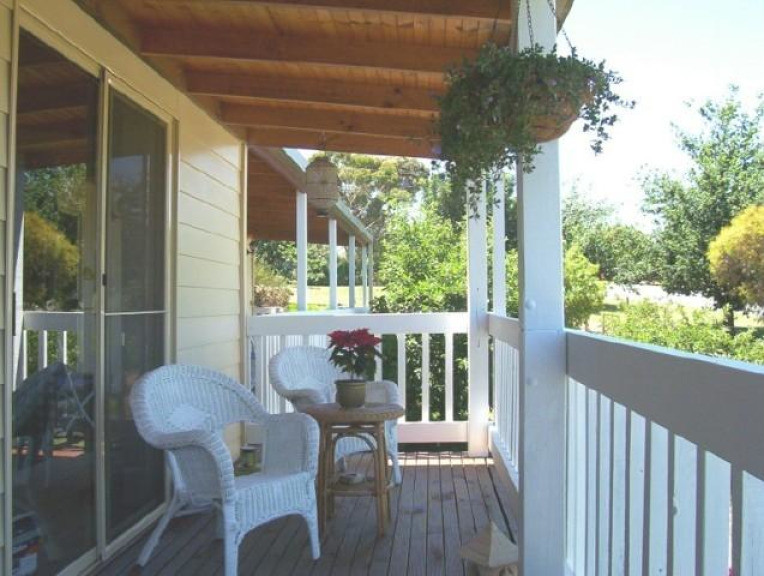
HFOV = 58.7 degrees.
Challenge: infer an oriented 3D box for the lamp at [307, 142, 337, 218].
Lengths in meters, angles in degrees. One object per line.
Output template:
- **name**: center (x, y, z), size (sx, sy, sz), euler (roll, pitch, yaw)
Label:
- **lamp**: center (-0.510, -0.880, 5.789), size (0.249, 0.541, 0.266), euler (4, -12, -30)

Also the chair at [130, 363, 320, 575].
- **chair**: center (-0.829, 0.865, 3.777), size (0.945, 1.275, 0.930), euler (-8, -10, 40)

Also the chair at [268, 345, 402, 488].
- **chair**: center (-0.346, 0.891, 4.691), size (0.812, 1.023, 0.894), euler (-1, -2, 23)

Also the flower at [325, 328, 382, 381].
- **flower**: center (-0.164, 0.373, 4.099), size (0.300, 0.350, 0.333), euler (2, 6, -12)

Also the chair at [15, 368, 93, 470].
- **chair**: center (-1.571, 0.540, 3.199), size (0.208, 0.291, 0.720), euler (11, 0, -8)

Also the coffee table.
- **coffee table**: center (-0.178, 1.074, 4.050), size (0.498, 0.719, 0.560), euler (0, -2, -20)

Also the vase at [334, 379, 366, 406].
- **vase**: center (-0.179, 0.612, 4.002), size (0.139, 0.124, 0.155), euler (1, -4, -10)
